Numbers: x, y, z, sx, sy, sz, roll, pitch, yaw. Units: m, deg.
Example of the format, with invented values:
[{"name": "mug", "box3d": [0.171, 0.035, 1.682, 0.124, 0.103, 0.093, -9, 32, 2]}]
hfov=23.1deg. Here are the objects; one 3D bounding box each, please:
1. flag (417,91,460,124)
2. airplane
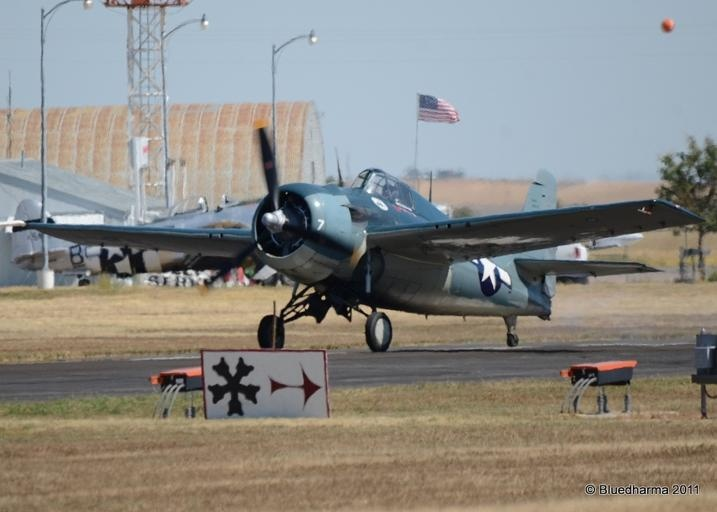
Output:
[{"name": "flag", "box3d": [3.207, -6.263, 70.916, 1.388, 1.070, 1.940, -4, -8, 9]}, {"name": "airplane", "box3d": [1.383, -0.498, 51.580, 16.032, 6.346, 8.431, -4, -8, 6]}]
